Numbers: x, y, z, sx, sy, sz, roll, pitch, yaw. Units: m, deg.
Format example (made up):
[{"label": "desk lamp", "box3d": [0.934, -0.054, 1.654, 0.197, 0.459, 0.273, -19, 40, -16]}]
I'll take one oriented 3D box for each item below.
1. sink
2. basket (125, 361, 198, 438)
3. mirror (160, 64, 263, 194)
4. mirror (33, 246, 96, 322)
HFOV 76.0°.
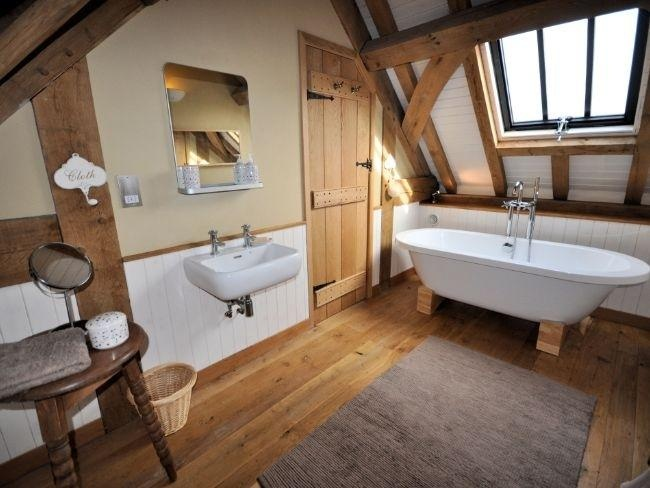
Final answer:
[{"label": "sink", "box3d": [-0.602, 0.185, 2.849, 0.464, 0.219, 0.597, 9, 16, 38]}, {"label": "basket", "box3d": [-1.027, 0.965, 2.730, 0.431, 0.341, 0.439, -4, 11, -4]}, {"label": "mirror", "box3d": [-0.807, -0.793, 2.842, 0.801, 1.110, 0.173, -12, 14, -43]}, {"label": "mirror", "box3d": [-1.545, 0.227, 2.436, 0.219, 0.513, 0.305, 28, 28, 35]}]
